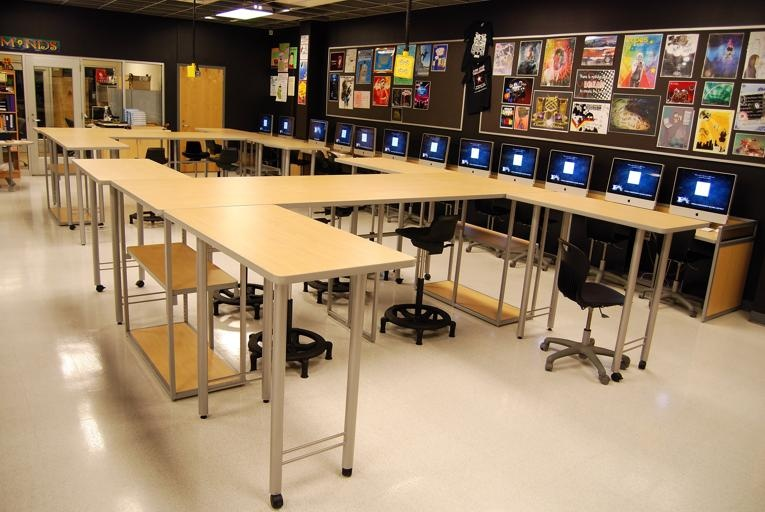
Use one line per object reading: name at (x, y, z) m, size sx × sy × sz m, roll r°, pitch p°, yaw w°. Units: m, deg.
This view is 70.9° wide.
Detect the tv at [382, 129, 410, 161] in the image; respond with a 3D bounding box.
tv at (0.258, -1.972, 9.537) m, size 0.222 × 0.471 × 0.629 m, roll -12°, pitch 22°, yaw -35°

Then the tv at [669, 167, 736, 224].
tv at (3.652, -0.673, 6.090) m, size 0.254 × 0.567 × 0.650 m, roll -7°, pitch 22°, yaw -41°

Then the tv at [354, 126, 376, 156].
tv at (-0.313, -2.130, 10.014) m, size 0.514 × 0.502 × 0.184 m, roll 22°, pitch 17°, yaw 38°

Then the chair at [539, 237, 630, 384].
chair at (1.925, 0.460, 4.980) m, size 0.824 × 1.210 × 0.776 m, roll 10°, pitch 20°, yaw 25°

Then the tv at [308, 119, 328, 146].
tv at (-1.304, -2.508, 10.972) m, size 0.732 × 0.708 × 0.079 m, roll 15°, pitch 19°, yaw 41°

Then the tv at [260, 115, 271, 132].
tv at (-2.636, -3.008, 12.197) m, size 0.052 × 0.376 × 0.387 m, roll -8°, pitch 17°, yaw -42°

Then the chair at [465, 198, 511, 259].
chair at (1.541, -0.384, 7.738) m, size 0.775 × 0.798 × 0.665 m, roll -7°, pitch 22°, yaw -23°

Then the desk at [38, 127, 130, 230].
desk at (-4.104, -1.043, 7.394) m, size 0.746 × 1.016 × 2.003 m, roll -7°, pitch 23°, yaw -29°

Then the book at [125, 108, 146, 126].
book at (-5.482, -3.120, 12.086) m, size 0.436 × 0.363 × 0.344 m, roll -13°, pitch 23°, yaw -37°

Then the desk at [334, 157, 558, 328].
desk at (0.824, -0.129, 6.104) m, size 0.706 × 1.028 × 2.145 m, roll -5°, pitch 17°, yaw -26°

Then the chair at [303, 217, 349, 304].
chair at (-0.624, 0.038, 6.240) m, size 0.858 × 0.912 × 0.829 m, roll 0°, pitch 12°, yaw -11°

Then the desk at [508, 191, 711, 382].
desk at (2.080, 0.279, 5.256) m, size 0.673 × 1.404 × 1.639 m, roll -5°, pitch 18°, yaw -23°

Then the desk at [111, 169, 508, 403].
desk at (-0.651, 0.317, 4.838) m, size 2.181 × 0.938 × 1.174 m, roll -8°, pitch 17°, yaw -32°

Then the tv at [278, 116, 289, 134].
tv at (-2.117, -2.839, 11.773) m, size 0.155 × 0.372 × 0.510 m, roll -9°, pitch 21°, yaw -29°

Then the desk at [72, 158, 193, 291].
desk at (-2.610, -0.291, 5.563) m, size 0.826 × 0.822 × 1.690 m, roll -5°, pitch 19°, yaw -23°

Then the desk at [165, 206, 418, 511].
desk at (-0.727, 0.831, 4.096) m, size 0.862 × 1.348 × 1.843 m, roll -6°, pitch 21°, yaw -32°

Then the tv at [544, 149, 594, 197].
tv at (2.486, -1.079, 7.095) m, size 0.325 × 0.660 × 0.764 m, roll -6°, pitch 20°, yaw -43°

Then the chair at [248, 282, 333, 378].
chair at (-0.812, 0.599, 4.812) m, size 0.724 × 0.721 × 0.713 m, roll -8°, pitch 15°, yaw -41°
